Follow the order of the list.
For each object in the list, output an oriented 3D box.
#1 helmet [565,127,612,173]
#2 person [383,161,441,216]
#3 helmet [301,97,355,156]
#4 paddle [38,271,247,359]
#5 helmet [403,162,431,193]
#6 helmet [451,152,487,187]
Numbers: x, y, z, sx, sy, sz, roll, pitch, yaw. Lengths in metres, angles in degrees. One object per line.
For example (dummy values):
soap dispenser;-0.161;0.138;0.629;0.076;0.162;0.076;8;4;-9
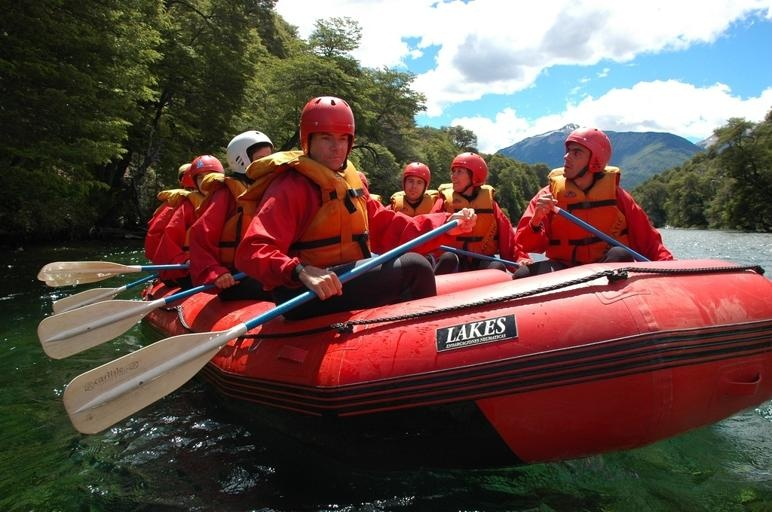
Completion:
helmet;2.333;-1.219;6.149;0.493;0.518;0.429;3;9;19
person;0.456;-1.107;8.781;0.756;1.107;0.689;0;-9;11
helmet;-0.542;-1.205;4.863;0.523;0.376;0.398;3;10;-10
paddle;-2.397;0.492;5.634;2.260;0.419;0.116;-22;-14;-50
helmet;0.517;-1.336;8.747;0.475;0.493;0.610;10;15;-6
helmet;1.236;-1.240;7.699;0.565;0.417;0.427;3;1;-16
